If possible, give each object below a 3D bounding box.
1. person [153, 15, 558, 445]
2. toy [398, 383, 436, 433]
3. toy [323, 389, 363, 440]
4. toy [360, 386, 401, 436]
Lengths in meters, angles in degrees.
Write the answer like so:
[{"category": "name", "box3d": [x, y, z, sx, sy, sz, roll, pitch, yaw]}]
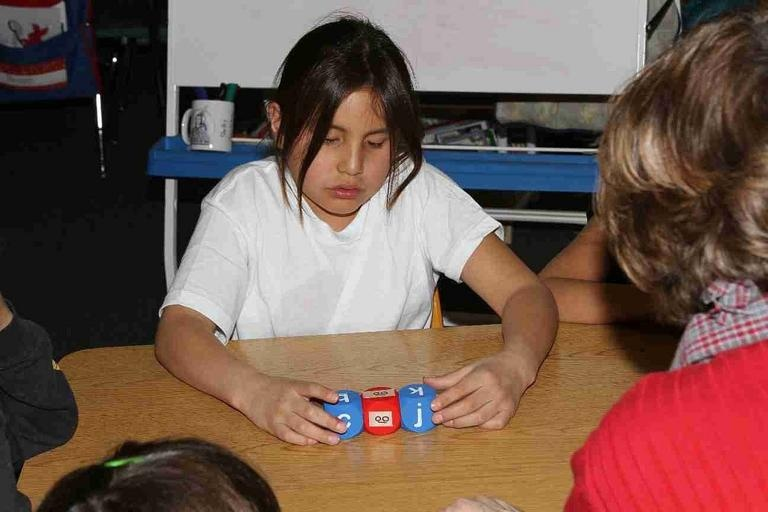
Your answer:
[{"category": "person", "box3d": [-0.073, -0.128, 1.642, 0.962, 1.002, 0.832, -7, 35, -11]}, {"category": "toy", "box3d": [0.061, 0.264, 1.103, 0.073, 0.063, 0.065, 1, 6, 15]}, {"category": "toy", "box3d": [-0.072, 0.274, 1.081, 0.063, 0.060, 0.086, -2, 12, -10]}, {"category": "toy", "box3d": [-0.007, 0.260, 1.087, 0.063, 0.062, 0.086, -4, 20, 0]}]
